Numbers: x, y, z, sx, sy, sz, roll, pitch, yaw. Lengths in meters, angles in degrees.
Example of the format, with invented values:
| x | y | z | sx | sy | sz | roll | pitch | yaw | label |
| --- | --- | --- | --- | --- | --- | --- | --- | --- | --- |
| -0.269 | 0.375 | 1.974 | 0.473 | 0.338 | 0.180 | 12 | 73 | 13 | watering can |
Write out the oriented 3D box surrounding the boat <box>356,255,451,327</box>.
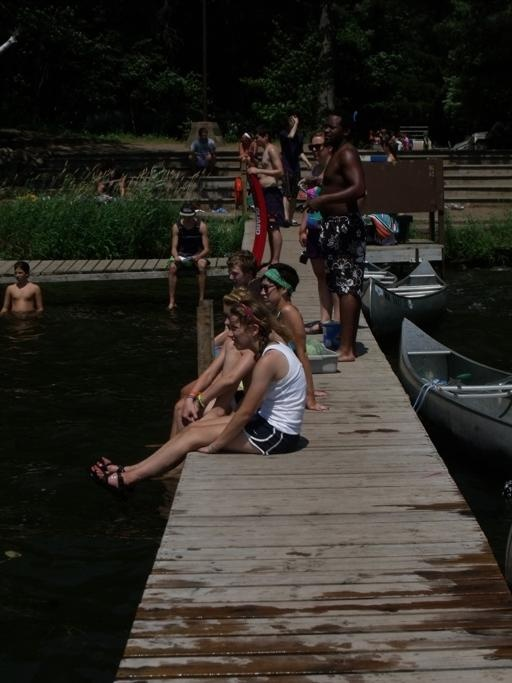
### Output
| x | y | z | sx | sy | sz | roll | pitch | yaw | label |
| --- | --- | --- | --- | --- | --- | --- | --- | --- | --- |
| 2.136 | -0.600 | 12.123 | 0.925 | 0.688 | 2.314 | 3 | 10 | 24 | boat |

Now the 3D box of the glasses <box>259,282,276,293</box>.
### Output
| x | y | z | sx | sy | sz | roll | pitch | yaw | label |
| --- | --- | --- | --- | --- | --- | --- | --- | --- | --- |
| 0.080 | -0.389 | 6.025 | 0.122 | 0.032 | 0.108 | 10 | 2 | -6 | glasses |

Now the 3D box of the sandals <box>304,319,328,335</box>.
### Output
| x | y | z | sx | sy | sz | roll | pitch | yaw | label |
| --- | --- | --- | --- | --- | --- | --- | --- | --- | --- |
| 0.571 | -0.143 | 8.247 | 0.317 | 0.199 | 0.104 | 3 | 9 | 13 | sandals |

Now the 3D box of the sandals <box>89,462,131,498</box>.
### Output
| x | y | z | sx | sy | sz | roll | pitch | yaw | label |
| --- | --- | --- | --- | --- | --- | --- | --- | --- | --- |
| -0.998 | 0.956 | 5.656 | 0.318 | 0.090 | 0.246 | 30 | 8 | -34 | sandals |
